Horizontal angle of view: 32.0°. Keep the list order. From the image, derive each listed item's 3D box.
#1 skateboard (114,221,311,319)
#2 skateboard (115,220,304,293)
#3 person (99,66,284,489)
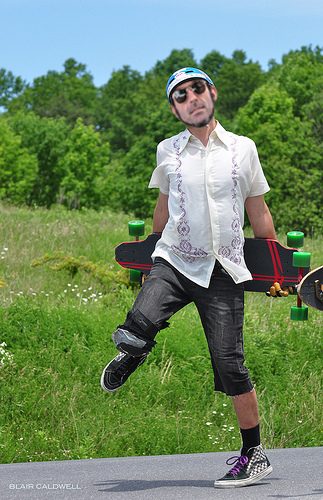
[{"bbox_3d":[0.204,0.066,3.304,1.388,0.463,0.373,5,20,19],"label":"skateboard"},{"bbox_3d":[0.179,0.036,3.202,1.296,0.403,0.165,4,18,17],"label":"skateboard"},{"bbox_3d":[0.169,0.091,2.777,0.933,2.084,0.506,1,-13,-11],"label":"person"}]
